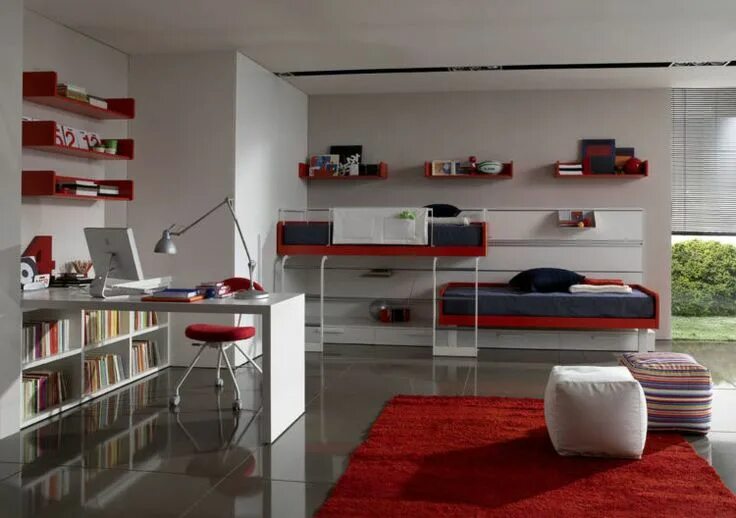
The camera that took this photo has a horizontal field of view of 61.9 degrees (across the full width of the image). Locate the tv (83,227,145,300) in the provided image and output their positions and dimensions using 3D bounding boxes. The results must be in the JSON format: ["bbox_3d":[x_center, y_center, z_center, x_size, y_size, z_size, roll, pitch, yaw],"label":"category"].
[{"bbox_3d":[-2.196,0.044,5.226,0.698,0.698,0.386,2,2,26],"label":"tv"}]

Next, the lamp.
[{"bbox_3d":[-1.381,-0.077,5.334,1.088,0.797,0.333,0,4,9],"label":"lamp"}]

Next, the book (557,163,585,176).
[{"bbox_3d":[2.576,-1.150,7.873,0.312,0.148,0.082,2,9,15],"label":"book"}]

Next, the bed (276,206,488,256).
[{"bbox_3d":[0.099,-0.246,7.217,2.489,0.385,0.314,0,8,3],"label":"bed"}]

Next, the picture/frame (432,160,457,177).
[{"bbox_3d":[0.986,-1.190,8.053,0.332,0.180,0.114,0,8,2],"label":"picture/frame"}]

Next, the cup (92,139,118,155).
[{"bbox_3d":[-2.637,-1.122,6.126,0.213,0.131,0.147,-1,6,-13],"label":"cup"}]

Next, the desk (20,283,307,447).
[{"bbox_3d":[-1.151,0.718,5.463,2.478,1.070,1.147,0,6,13],"label":"desk"}]

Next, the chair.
[{"bbox_3d":[-1.308,0.730,5.526,0.691,1.028,0.846,-1,0,14],"label":"chair"}]

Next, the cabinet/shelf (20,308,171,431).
[{"bbox_3d":[-2.555,0.794,5.719,0.437,0.850,2.173,0,2,10],"label":"cabinet/shelf"}]
